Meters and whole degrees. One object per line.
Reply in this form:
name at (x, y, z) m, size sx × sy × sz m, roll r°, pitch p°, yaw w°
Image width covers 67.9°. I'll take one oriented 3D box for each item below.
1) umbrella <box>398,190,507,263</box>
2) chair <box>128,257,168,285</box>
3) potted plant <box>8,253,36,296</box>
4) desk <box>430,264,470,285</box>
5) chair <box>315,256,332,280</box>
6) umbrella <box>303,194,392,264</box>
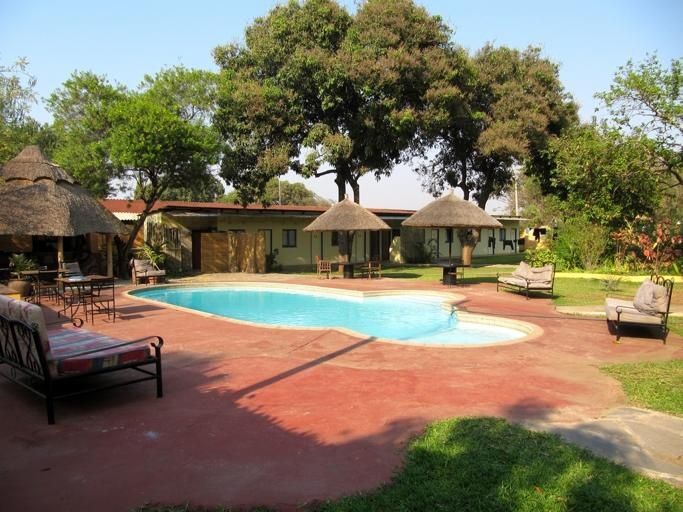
umbrella at (4.766, -1.526, 22.684) m, size 2.951 × 2.379 × 3.077 m, roll 0°, pitch 19°, yaw 17°
chair at (-8.413, 0.651, 22.104) m, size 1.311 × 1.385 × 1.075 m, roll 0°, pitch 0°, yaw 26°
potted plant at (-11.419, 0.701, 17.908) m, size 0.771 × 1.423 × 0.884 m, roll -5°, pitch 2°, yaw 23°
desk at (4.649, 0.853, 21.405) m, size 1.202 × 0.739 × 1.274 m, roll 0°, pitch 4°, yaw 4°
chair at (-1.047, 0.690, 26.083) m, size 1.069 × 1.644 × 0.937 m, roll 0°, pitch 2°, yaw 5°
umbrella at (0.218, -1.207, 25.836) m, size 3.679 × 3.587 × 3.787 m, roll -3°, pitch 9°, yaw -27°
